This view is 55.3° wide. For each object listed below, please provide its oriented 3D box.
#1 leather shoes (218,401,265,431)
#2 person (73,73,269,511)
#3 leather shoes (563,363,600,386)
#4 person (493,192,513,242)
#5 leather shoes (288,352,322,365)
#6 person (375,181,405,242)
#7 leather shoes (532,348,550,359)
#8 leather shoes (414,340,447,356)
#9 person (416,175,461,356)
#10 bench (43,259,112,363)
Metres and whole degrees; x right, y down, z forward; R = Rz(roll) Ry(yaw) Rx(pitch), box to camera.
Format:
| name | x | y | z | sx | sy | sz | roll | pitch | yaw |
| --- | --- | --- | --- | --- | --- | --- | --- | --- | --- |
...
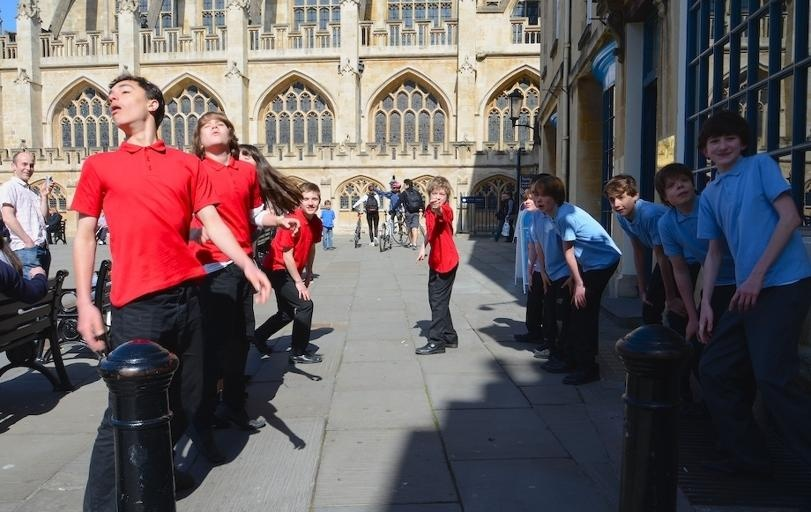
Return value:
| name | x | y | z | sx | sy | sz | roll | pitch | yaw |
| --- | --- | --- | --- | --- | --- | --- | --- | --- | --- |
| leather shoes | -1.439 | 1.414 | 6.877 | 0.544 | 0.244 | 0.200 | 4 | 17 | -2 |
| person | -1.859 | 0.019 | 5.809 | 1.166 | 2.732 | 0.659 | -6 | 9 | -25 |
| leather shoes | 1.755 | 1.158 | 7.666 | 0.416 | 0.185 | 0.163 | -3 | 6 | -12 |
| person | 3.238 | -1.185 | 25.146 | 0.589 | 1.421 | 2.354 | -1 | 8 | 8 |
| leather shoes | -1.062 | 1.094 | 8.281 | 0.324 | 0.144 | 0.133 | -2 | -1 | -2 |
| person | -0.212 | -1.338 | 22.124 | 0.675 | 1.549 | 1.542 | 8 | -5 | -27 |
| leather shoes | 1.481 | 1.064 | 8.420 | 0.187 | 0.077 | 0.075 | -2 | 2 | -13 |
| leather shoes | 0.298 | 1.017 | 8.556 | 0.293 | 0.120 | 0.141 | 2 | -6 | -6 |
| person | 0.372 | 0.063 | 8.805 | 0.450 | 1.922 | 0.861 | -1 | 8 | 4 |
| bench | -3.064 | 0.549 | 7.245 | 0.441 | 0.670 | 1.073 | 0 | -1 | -2 |
